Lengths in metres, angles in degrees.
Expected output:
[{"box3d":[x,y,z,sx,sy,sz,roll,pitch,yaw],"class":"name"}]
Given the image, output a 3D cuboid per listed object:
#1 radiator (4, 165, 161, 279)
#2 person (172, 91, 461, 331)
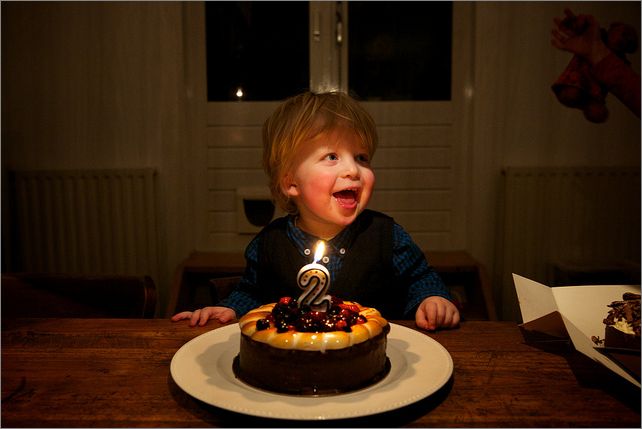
[{"box3d":[-1.343,0.023,2.906,0.594,0.649,0.046,0,3,1],"class":"radiator"},{"box3d":[-0.005,0.011,1.896,0.897,0.845,0.543,-4,8,-3],"class":"person"}]
